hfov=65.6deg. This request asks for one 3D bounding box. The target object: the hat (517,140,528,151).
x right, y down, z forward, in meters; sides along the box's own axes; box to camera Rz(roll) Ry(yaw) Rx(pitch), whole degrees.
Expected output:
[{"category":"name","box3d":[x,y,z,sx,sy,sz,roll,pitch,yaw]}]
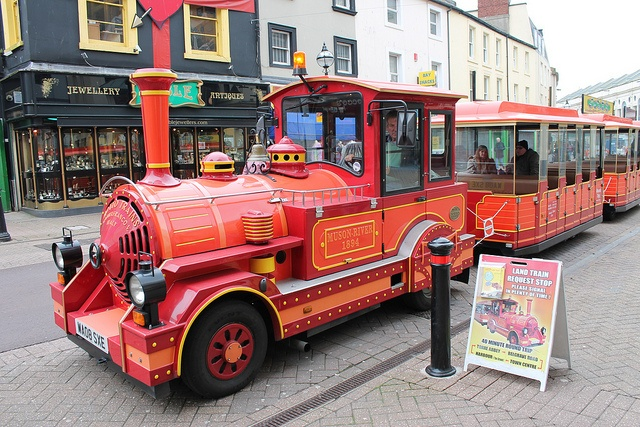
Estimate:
[{"category":"hat","box3d":[4.259,-1.432,10.486,0.213,0.192,0.169,29,15,24]}]

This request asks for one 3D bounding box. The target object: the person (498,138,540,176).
[{"category":"person","box3d":[4.293,-1.144,10.635,0.733,0.869,0.981,-1,7,39]}]
